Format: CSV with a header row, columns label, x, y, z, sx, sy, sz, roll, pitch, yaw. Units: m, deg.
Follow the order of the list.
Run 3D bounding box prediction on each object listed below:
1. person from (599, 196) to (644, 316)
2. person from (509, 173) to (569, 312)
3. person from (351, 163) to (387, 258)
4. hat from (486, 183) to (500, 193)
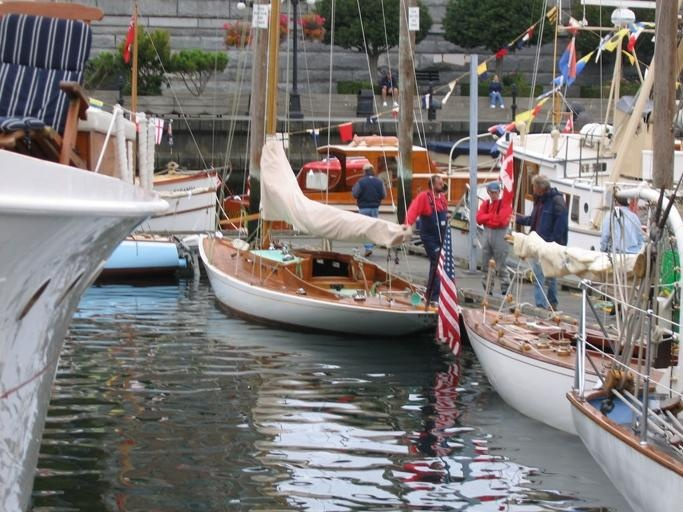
label,x,y,z,sx,sy,sz,roll,pitch,yaw
person,3.223,-0.015,13.853,0.438,1.559,0.520,2,31,6
person,2.740,-0.162,16.643,0.856,1.837,0.503,-5,-14,34
person,0.486,-0.855,21.438,0.597,1.657,0.553,4,-3,-30
hat,2.179,-0.994,17.316,0.148,0.125,0.118,13,19,-2
